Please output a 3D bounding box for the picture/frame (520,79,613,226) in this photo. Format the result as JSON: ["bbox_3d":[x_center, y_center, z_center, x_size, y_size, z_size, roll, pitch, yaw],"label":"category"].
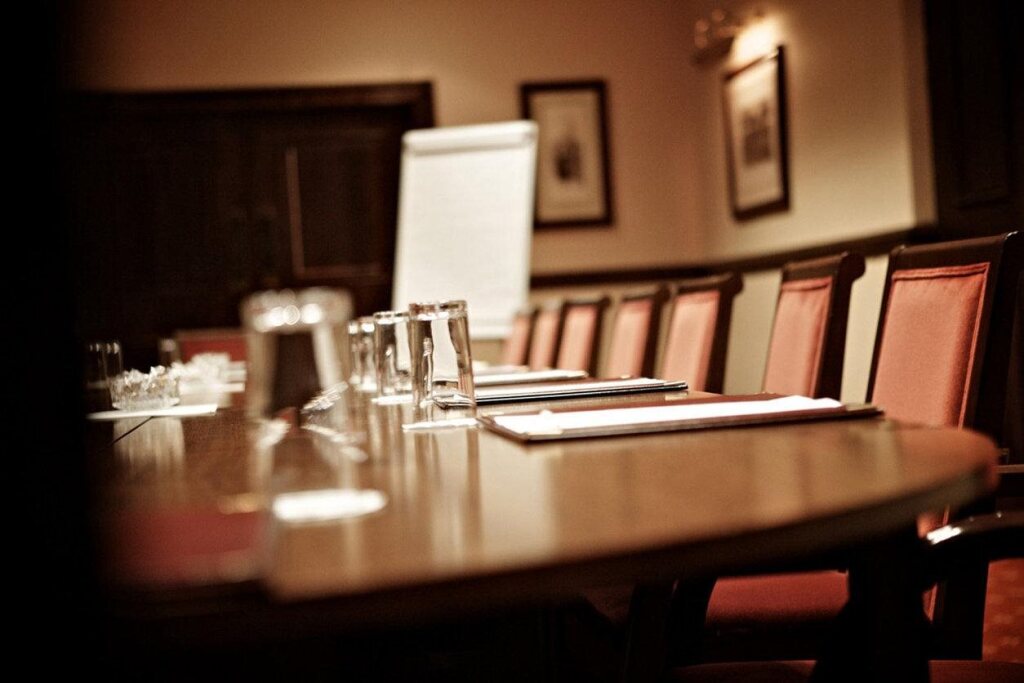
[{"bbox_3d":[0.342,-1.137,4.820,0.507,0.863,0.039,-1,31,8],"label":"picture/frame"}]
